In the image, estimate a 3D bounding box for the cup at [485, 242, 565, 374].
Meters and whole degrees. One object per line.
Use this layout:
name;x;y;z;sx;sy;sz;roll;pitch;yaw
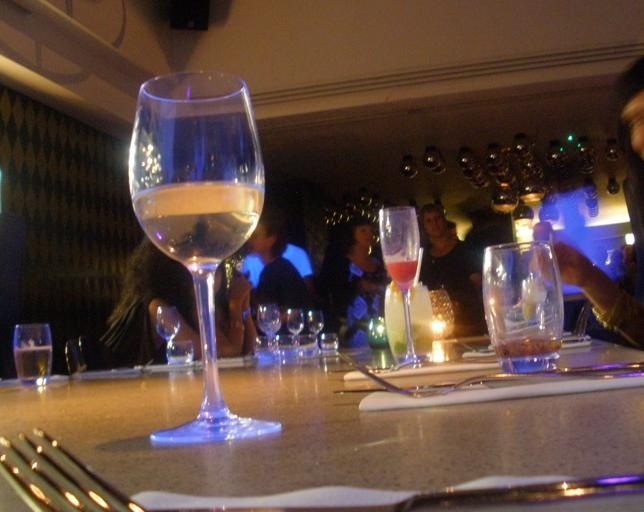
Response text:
cup;0.235;0.057;0.649;0.081;0.153;0.085;-8;2;0

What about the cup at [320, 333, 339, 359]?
cup;0.023;0.295;1.820;0.064;0.082;0.071;0;-9;-1
